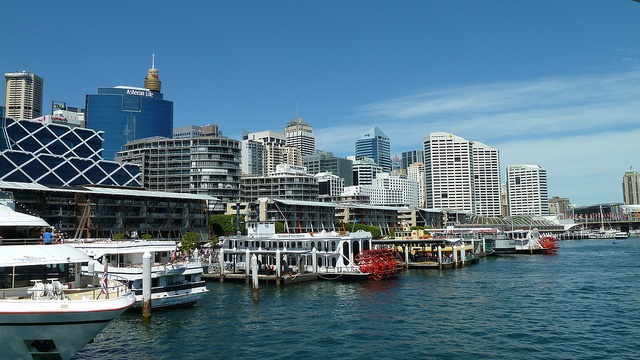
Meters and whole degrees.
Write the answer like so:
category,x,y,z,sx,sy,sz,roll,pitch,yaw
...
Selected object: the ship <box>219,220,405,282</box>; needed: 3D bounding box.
category,x,y,z,sx,sy,sz,roll,pitch,yaw
ship,-3.406,18.460,183.183,54.771,12.322,14.294,-3,-3,20
